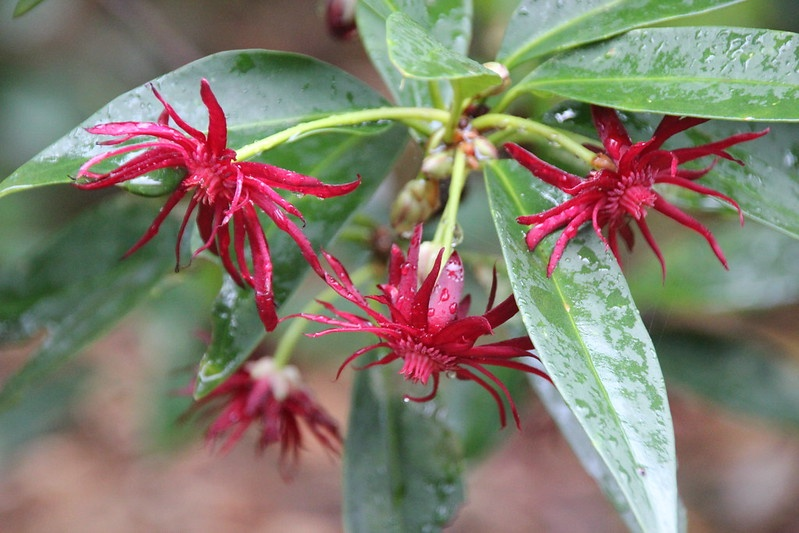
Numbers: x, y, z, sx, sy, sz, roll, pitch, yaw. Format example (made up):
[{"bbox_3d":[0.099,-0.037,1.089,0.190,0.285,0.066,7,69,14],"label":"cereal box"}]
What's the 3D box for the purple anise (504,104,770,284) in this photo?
[{"bbox_3d":[0.397,-0.133,1.367,0.336,0.357,0.122,28,5,-6],"label":"purple anise"}]
